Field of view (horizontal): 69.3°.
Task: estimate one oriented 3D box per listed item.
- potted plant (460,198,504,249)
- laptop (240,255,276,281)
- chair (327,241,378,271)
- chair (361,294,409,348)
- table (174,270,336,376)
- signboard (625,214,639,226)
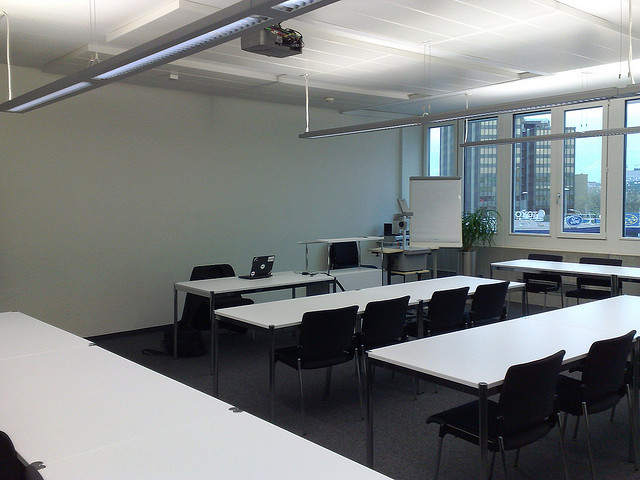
[{"bbox_3d":[2.987,-0.260,8.772,0.864,0.810,0.519,-3,8,-25],"label":"potted plant"},{"bbox_3d":[-0.797,0.329,6.091,0.371,0.259,0.303,-1,2,-42],"label":"laptop"},{"bbox_3d":[0.605,0.309,8.161,0.540,0.591,0.942,-1,0,29],"label":"chair"},{"bbox_3d":[0.604,0.725,4.462,0.446,0.573,0.470,-3,5,-28],"label":"chair"},{"bbox_3d":[-0.784,0.961,5.959,1.913,0.911,0.855,-3,4,-44],"label":"table"},{"bbox_3d":[4.976,-0.330,7.354,0.021,0.163,0.195,-8,11,-39],"label":"signboard"}]
